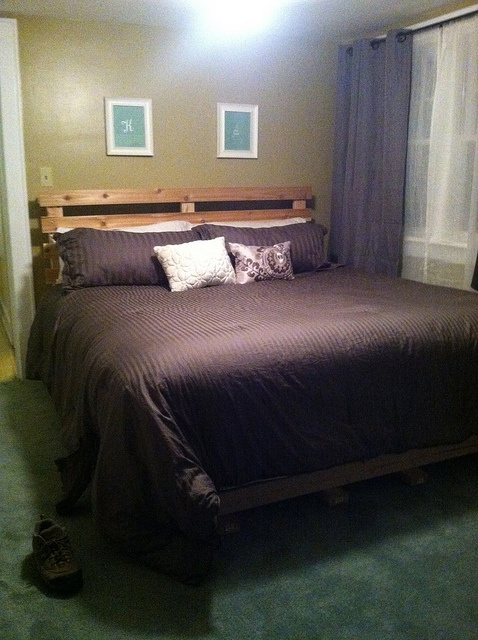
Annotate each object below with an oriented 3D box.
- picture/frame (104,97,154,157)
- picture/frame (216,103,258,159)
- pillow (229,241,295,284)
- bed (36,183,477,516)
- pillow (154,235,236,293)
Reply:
[{"bbox_3d":[-0.697,-1.225,3.166,0.023,0.340,0.348,23,30,37],"label":"picture/frame"},{"bbox_3d":[-0.014,-1.319,3.490,0.341,0.355,0.016,-11,23,-32],"label":"picture/frame"},{"bbox_3d":[0.143,-0.333,2.885,0.444,0.265,0.134,-6,-1,-32],"label":"pillow"},{"bbox_3d":[-0.040,-0.165,2.584,1.713,0.823,1.907,-8,31,-20],"label":"bed"},{"bbox_3d":[-0.225,-0.302,2.667,0.407,0.280,0.214,-5,10,-38],"label":"pillow"}]
